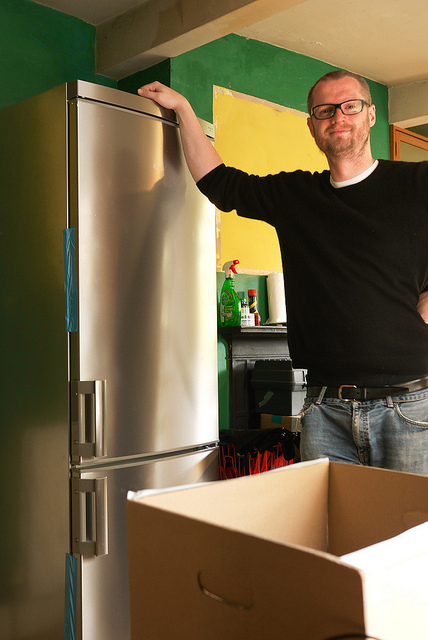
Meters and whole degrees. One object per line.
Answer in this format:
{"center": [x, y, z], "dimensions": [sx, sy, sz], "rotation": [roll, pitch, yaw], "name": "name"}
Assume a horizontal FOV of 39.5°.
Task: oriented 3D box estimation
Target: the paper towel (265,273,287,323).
{"center": [0.353, -0.123, 3.400], "dimensions": [0.151, 0.293, 0.077], "rotation": [2, -5, 35], "name": "paper towel"}

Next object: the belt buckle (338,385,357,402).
{"center": [0.282, 0.156, 1.264], "dimensions": [0.040, 0.035, 0.008], "rotation": [3, -5, 32], "name": "belt buckle"}

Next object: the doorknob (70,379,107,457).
{"center": [-0.299, 0.235, 1.414], "dimensions": [0.085, 0.177, 0.067], "rotation": [1, -4, -21], "name": "doorknob"}
